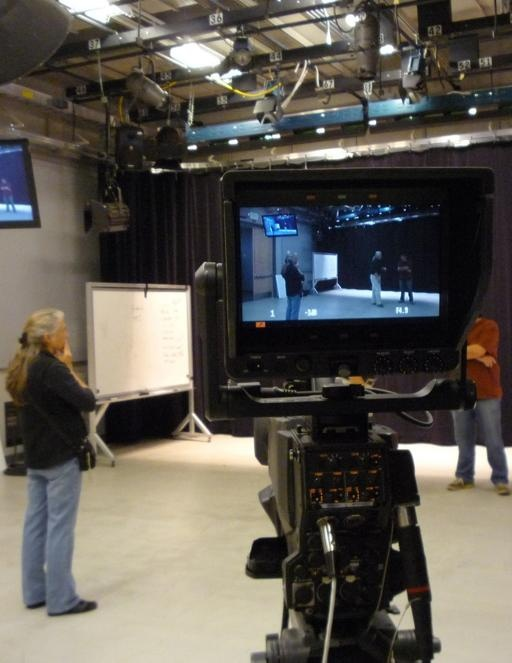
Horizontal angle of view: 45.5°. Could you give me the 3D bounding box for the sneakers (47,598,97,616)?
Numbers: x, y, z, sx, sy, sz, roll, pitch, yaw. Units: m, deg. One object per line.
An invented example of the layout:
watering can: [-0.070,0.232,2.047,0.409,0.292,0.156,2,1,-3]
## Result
sneakers: [-0.801,1.201,2.689,0.210,0.078,0.067,-2,5,-23]

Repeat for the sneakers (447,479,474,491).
sneakers: [1.464,1.105,4.394,0.212,0.078,0.073,1,-4,-9]

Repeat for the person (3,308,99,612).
person: [-0.893,0.571,2.694,0.352,1.371,0.279,-2,0,-22]

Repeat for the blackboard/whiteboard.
blackboard/whiteboard: [-1.151,0.087,6.171,0.119,1.137,1.297,0,2,41]

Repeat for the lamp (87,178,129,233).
lamp: [-1.389,-1.110,5.694,0.391,0.409,0.335,-2,0,-15]

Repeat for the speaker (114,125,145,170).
speaker: [-1.024,-1.565,5.235,0.246,0.344,0.201,6,9,15]
